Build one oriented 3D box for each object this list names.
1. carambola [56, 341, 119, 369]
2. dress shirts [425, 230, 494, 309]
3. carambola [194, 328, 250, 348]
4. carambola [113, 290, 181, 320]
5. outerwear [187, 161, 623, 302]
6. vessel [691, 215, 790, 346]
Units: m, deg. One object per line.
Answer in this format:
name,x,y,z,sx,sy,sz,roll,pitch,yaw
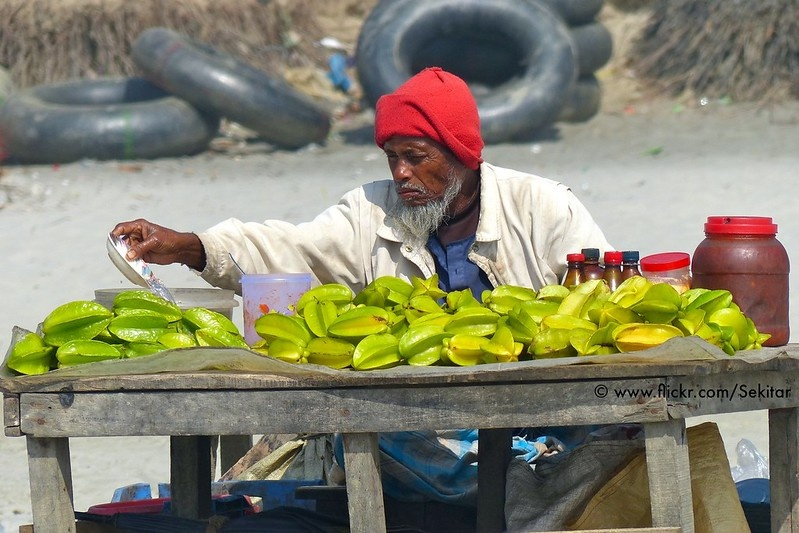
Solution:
carambola,-2.236,0.631,11.176,0.396,0.197,0.126,8,-41,-7
dress shirts,0.447,0.050,12.027,0.488,0.564,0.321,-17,2,0
carambola,-1.293,0.526,11.263,0.388,0.141,0.128,10,12,-9
carambola,-1.831,0.285,11.282,0.361,0.101,0.239,9,10,1
outerwear,0.073,-0.036,12.278,3.092,1.051,1.362,-3,2,7
vessel,2.313,0.079,11.973,0.938,1.124,0.870,1,1,-3
